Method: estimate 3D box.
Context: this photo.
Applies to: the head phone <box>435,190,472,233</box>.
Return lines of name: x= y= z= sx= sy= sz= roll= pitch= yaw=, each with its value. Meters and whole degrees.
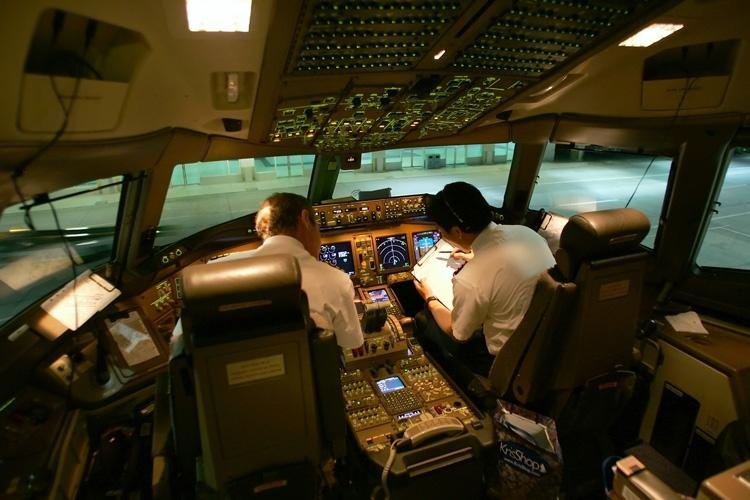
head phone: x=0.514 y=-0.264 z=3.298 sx=0.072 sy=0.252 sz=0.186 roll=-37 pitch=2 yaw=-7

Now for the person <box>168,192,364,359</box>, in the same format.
person: x=-0.613 y=0.152 z=2.928 sx=1.228 sy=1.217 sz=0.667 roll=4 pitch=-1 yaw=8

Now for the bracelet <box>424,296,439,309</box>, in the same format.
bracelet: x=0.405 y=0.380 z=3.668 sx=0.074 sy=0.028 sz=0.074 roll=1 pitch=52 yaw=43

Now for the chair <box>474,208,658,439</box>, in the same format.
chair: x=1.241 y=0.420 z=3.317 sx=0.939 sy=1.385 sz=1.062 roll=-5 pitch=8 yaw=-7
